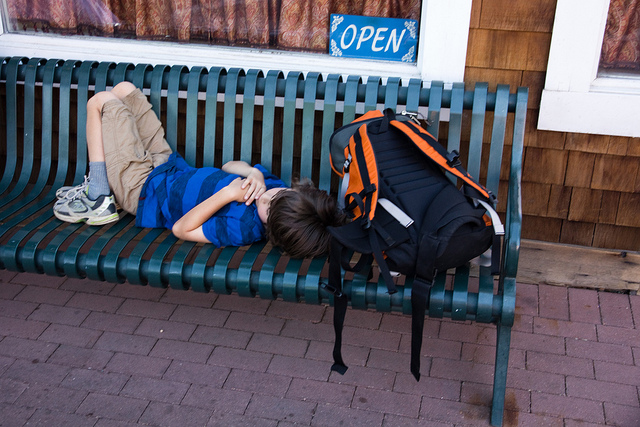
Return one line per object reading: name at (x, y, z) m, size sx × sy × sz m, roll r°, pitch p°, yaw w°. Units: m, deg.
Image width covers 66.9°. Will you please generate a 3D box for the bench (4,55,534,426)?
bench at (-0.322, 0.206, 2.907) m, size 2.354 × 0.953 × 0.730 m, roll 5°, pitch 47°, yaw 9°
